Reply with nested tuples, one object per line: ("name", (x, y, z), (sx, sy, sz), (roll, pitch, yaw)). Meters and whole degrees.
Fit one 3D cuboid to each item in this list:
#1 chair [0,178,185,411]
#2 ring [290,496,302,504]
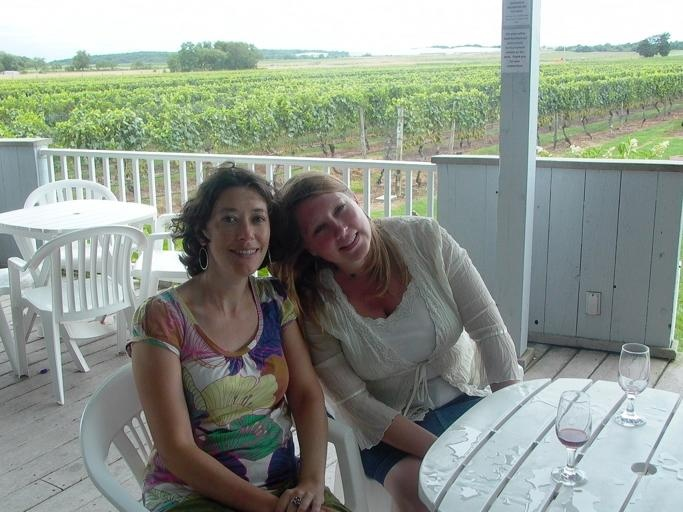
("chair", (-1.440, 0.215, 2.918), (0.896, 1.414, 1.012), (-12, 39, -32))
("ring", (-0.112, 0.619, 1.313), (0.014, 0.016, 0.017), (-4, -3, 7))
